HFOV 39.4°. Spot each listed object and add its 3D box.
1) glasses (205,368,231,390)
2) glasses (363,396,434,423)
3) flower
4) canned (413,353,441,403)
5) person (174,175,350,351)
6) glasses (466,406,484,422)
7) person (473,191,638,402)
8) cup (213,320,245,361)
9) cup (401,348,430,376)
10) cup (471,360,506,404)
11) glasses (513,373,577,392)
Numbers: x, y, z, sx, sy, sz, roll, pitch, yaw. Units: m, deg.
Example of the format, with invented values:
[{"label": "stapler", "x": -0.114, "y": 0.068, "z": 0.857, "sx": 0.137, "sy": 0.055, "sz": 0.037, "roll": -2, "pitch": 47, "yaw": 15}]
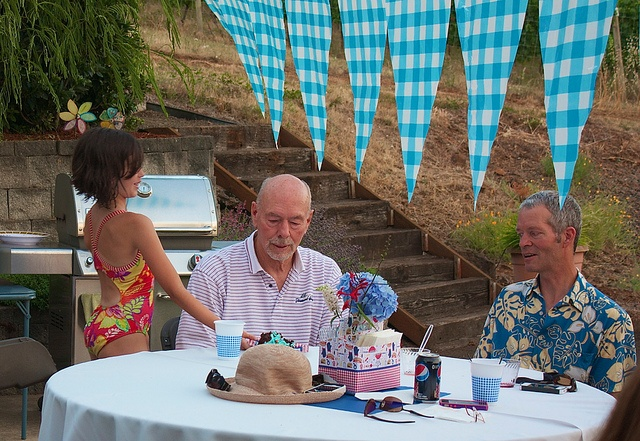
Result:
[{"label": "glasses", "x": -0.588, "y": 0.914, "z": 5.135, "sx": 0.194, "sy": 0.095, "sz": 0.066, "roll": 15, "pitch": 7, "yaw": 36}, {"label": "glasses", "x": 0.389, "y": 1.046, "z": 4.938, "sx": 0.205, "sy": 0.069, "sz": 0.184, "roll": 12, "pitch": 9, "yaw": 35}, {"label": "flower", "x": 0.244, "y": 0.438, "z": 5.346, "sx": 0.424, "sy": 0.377, "sz": 0.417, "roll": 9, "pitch": 26, "yaw": 12}, {"label": "canned", "x": 0.615, "y": 0.903, "z": 5.176, "sx": 0.147, "sy": 0.291, "sz": 0.152, "roll": 12, "pitch": 13, "yaw": 40}, {"label": "person", "x": -0.387, "y": 0.276, "z": 5.979, "sx": 1.050, "sy": 1.148, "sz": 0.459, "roll": 1, "pitch": 12, "yaw": 0}, {"label": "glasses", "x": 0.857, "y": 1.077, "z": 4.947, "sx": 0.087, "sy": 0.029, "sz": 0.056, "roll": 8, "pitch": 2, "yaw": -22}, {"label": "person", "x": 1.796, "y": 0.594, "z": 6.941, "sx": 0.661, "sy": 2.020, "sz": 1.147, "roll": 20, "pitch": -22, "yaw": -32}, {"label": "cup", "x": -0.585, "y": 0.748, "z": 5.657, "sx": 0.194, "sy": 0.220, "sz": 0.198, "roll": 2, "pitch": 6, "yaw": 0}, {"label": "cup", "x": 0.580, "y": 0.850, "z": 5.471, "sx": 0.162, "sy": 0.157, "sz": 0.175, "roll": 2, "pitch": -2, "yaw": 0}, {"label": "cup", "x": 0.945, "y": 0.922, "z": 5.087, "sx": 0.194, "sy": 0.218, "sz": 0.206, "roll": 2, "pitch": -5, "yaw": 0}, {"label": "glasses", "x": 1.358, "y": 0.975, "z": 5.322, "sx": 0.228, "sy": 0.097, "sz": 0.150, "roll": 2, "pitch": 4, "yaw": 14}]
